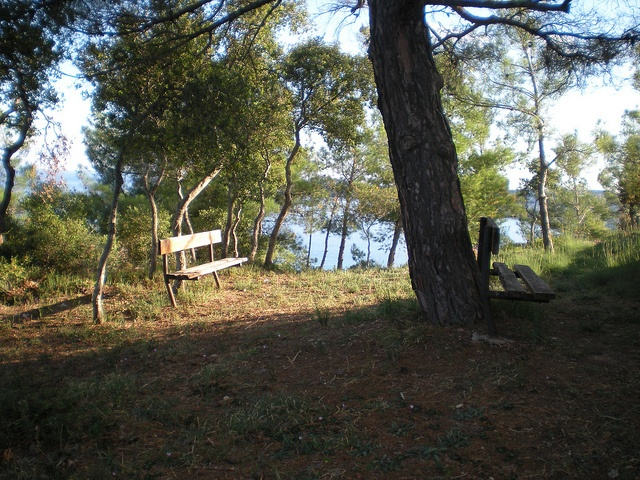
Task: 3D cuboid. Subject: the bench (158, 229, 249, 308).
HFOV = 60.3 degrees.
[{"bbox_3d":[-2.725,0.681,12.974,0.793,1.642,2.567,3,7,21],"label":"bench"}]
